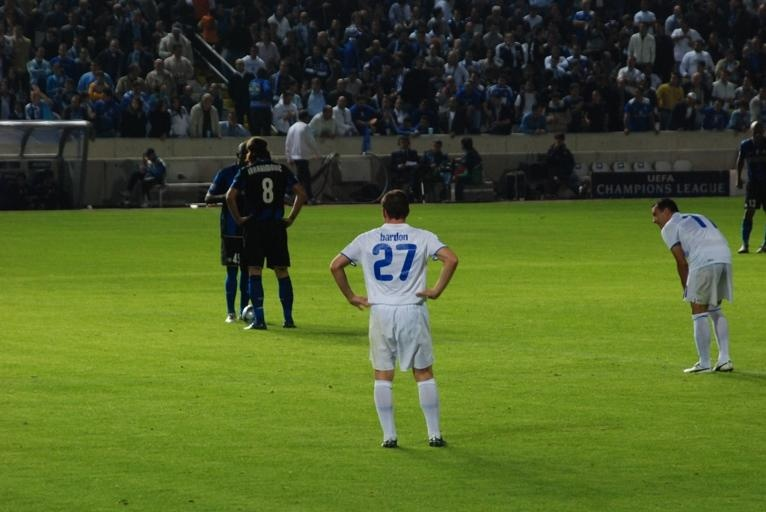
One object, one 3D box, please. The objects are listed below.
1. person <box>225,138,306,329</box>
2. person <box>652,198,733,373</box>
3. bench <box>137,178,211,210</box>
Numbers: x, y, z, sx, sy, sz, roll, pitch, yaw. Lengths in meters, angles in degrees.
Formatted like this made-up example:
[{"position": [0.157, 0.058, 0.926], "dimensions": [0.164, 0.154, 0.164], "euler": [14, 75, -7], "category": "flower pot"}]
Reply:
[{"position": [-2.127, -0.401, 28.149], "dimensions": [1.266, 3.495, 0.998], "euler": [-5, 5, -45], "category": "person"}, {"position": [5.168, 0.487, 26.351], "dimensions": [1.165, 2.919, 0.482], "euler": [0, 4, 11], "category": "person"}, {"position": [-6.215, -1.877, 47.179], "dimensions": [1.735, 0.681, 0.553], "euler": [-2, 4, -9], "category": "bench"}]
